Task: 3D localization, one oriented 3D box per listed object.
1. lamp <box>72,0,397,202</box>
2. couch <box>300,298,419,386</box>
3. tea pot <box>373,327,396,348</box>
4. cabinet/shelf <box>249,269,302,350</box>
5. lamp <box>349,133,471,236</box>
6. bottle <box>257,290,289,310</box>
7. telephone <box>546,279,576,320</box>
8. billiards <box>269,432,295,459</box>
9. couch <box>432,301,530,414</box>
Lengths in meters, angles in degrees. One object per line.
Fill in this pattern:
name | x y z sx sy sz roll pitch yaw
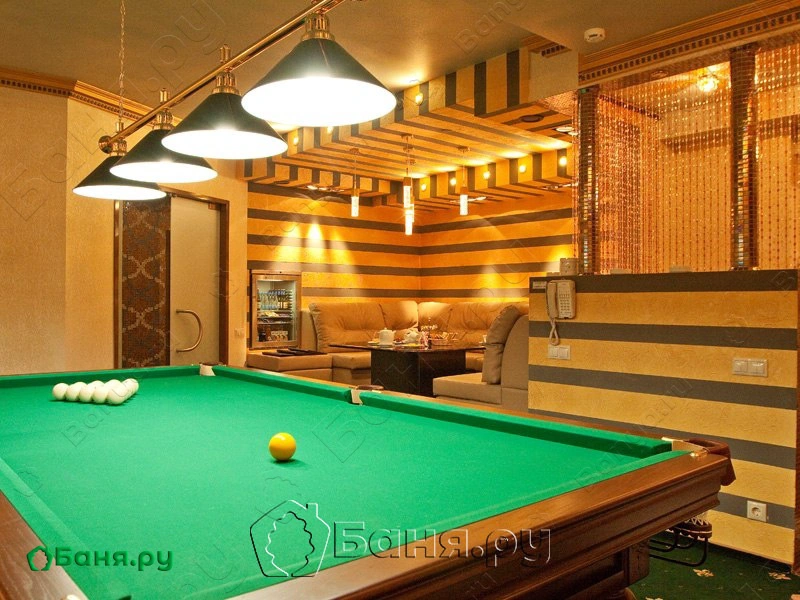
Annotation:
lamp | -1.199 -1.376 4.176 0.579 0.349 1.721 4 -11 -42
couch | -0.249 0.580 8.399 0.958 0.965 1.775 12 8 43
tea pot | -0.141 0.412 6.519 0.259 0.179 0.168 -1 1 -10
cabinet/shelf | -1.619 0.146 8.259 0.746 0.854 0.336 1 -7 -8
lamp | 0.084 -1.289 7.602 1.293 1.038 1.158 1 -6 -5
bottle | -1.699 0.009 8.237 0.323 0.191 0.032 0 0 -42
telephone | 1.093 0.002 4.231 0.066 0.276 0.203 -8 8 -43
billiards | -0.388 0.493 2.112 0.099 0.082 0.089 2 1 13
couch | 0.634 0.473 4.951 0.822 0.888 0.812 1 -2 44
